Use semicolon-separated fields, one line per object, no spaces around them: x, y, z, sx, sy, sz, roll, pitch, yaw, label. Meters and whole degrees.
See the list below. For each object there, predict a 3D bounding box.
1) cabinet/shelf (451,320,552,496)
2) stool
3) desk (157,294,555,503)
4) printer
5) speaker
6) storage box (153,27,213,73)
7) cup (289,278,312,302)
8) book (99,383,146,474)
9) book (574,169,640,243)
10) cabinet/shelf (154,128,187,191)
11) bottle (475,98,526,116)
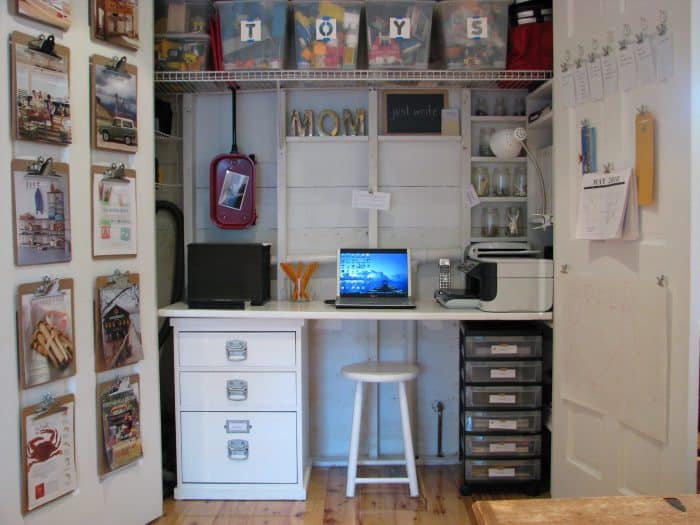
0.885;0.799;3.605;0.538;0.943;0.305;0;2;2;cabinet/shelf
0.176;0.921;3.675;0.552;0.823;0.619;0;-5;0;stool
0.715;0.926;4.176;0.993;0.607;2.495;0;-26;29;desk
0.860;0.116;3.518;0.415;0.293;0.438;1;0;2;printer
-0.702;0.065;3.641;0.522;0.430;0.305;1;5;0;speaker
-0.958;-1.179;3.586;0.325;0.247;0.193;1;11;0;storage box
-0.295;0.169;3.802;0.119;0.150;0.126;0;-4;0;cup
-1.147;0.798;3.155;0.030;0.452;0.225;1;3;36;book
1.184;-0.252;2.884;0.113;0.361;0.294;-4;8;-25;book
-1.077;-0.611;3.769;0.166;0.340;0.272;-1;2;-16;cabinet/shelf
0.912;-0.939;3.864;0.313;0.119;0.055;0;2;3;bottle
